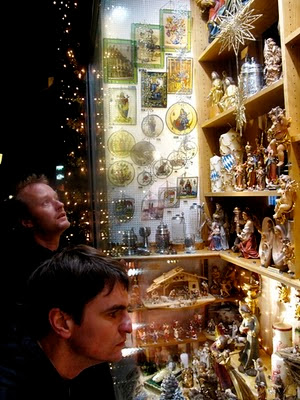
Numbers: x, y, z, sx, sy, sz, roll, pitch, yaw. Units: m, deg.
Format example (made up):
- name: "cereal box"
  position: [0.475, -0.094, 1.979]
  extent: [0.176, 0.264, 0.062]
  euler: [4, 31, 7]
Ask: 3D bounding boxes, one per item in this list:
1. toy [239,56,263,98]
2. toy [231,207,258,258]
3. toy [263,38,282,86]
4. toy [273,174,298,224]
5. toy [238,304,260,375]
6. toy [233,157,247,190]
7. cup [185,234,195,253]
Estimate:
- name: "toy"
  position: [0.668, -0.783, 2.173]
  extent: [0.126, 0.193, 0.123]
  euler: [-10, 13, -35]
- name: "toy"
  position: [0.666, 0.231, 2.420]
  extent: [0.179, 0.332, 0.342]
  euler: [-6, -1, 16]
- name: "toy"
  position: [0.676, -0.752, 1.863]
  extent: [0.090, 0.272, 0.195]
  euler: [-6, -1, 16]
- name: "toy"
  position: [0.660, -0.004, 1.667]
  extent: [0.098, 0.247, 0.156]
  euler: [-5, -1, -6]
- name: "toy"
  position: [0.661, 0.911, 2.243]
  extent: [0.153, 0.429, 0.165]
  euler: [3, -8, -4]
- name: "toy"
  position: [0.617, -0.164, 2.325]
  extent: [0.062, 0.193, 0.204]
  euler: [-5, -1, 0]
- name: "cup"
  position: [0.312, 0.346, 2.670]
  extent: [0.113, 0.150, 0.110]
  euler: [-1, 0, 0]
